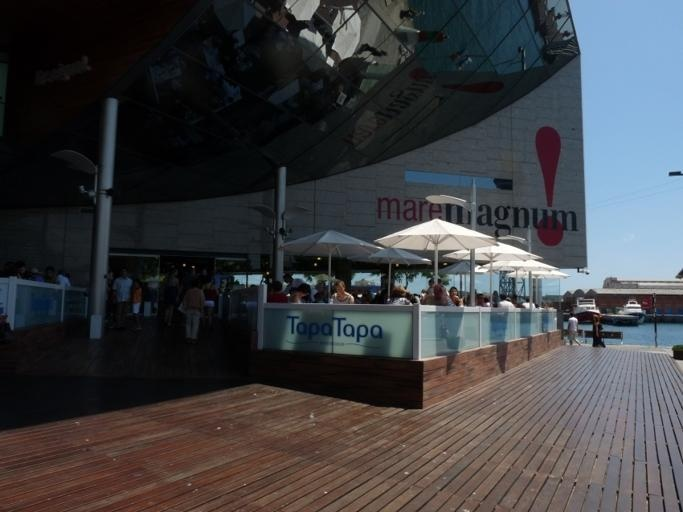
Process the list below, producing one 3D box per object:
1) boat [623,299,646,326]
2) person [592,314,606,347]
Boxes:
[{"bbox_3d":[48.437,8.679,81.532,3.226,4.298,11.152,-3,-12,24],"label":"boat"},{"bbox_3d":[12.196,3.474,23.612,0.392,1.536,2.018,-1,-5,27],"label":"person"}]
